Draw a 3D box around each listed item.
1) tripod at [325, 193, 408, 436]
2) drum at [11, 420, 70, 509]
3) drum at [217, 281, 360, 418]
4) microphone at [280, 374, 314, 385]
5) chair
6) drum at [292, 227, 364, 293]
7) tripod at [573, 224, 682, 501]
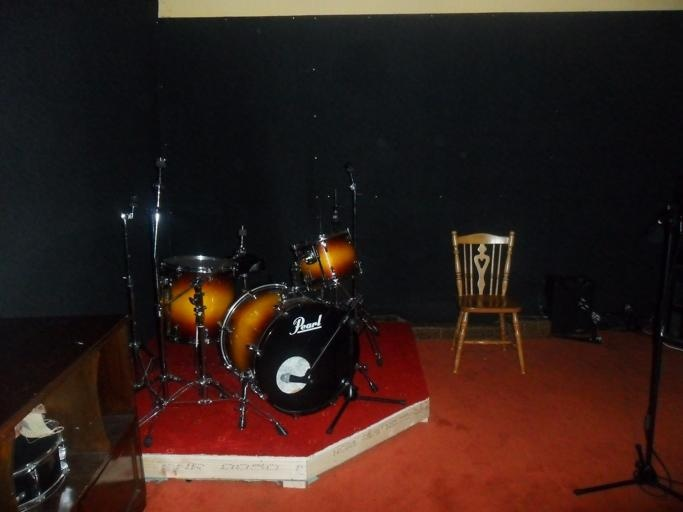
[{"bbox_3d":[0.082,0.228,3.691,0.568,1.603,0.555,-1,-1,9],"label":"tripod"},{"bbox_3d":[-1.347,0.941,2.361,0.207,0.308,0.206,-2,4,0],"label":"drum"},{"bbox_3d":[-0.362,0.463,3.403,0.687,0.814,0.801,-21,33,-32],"label":"drum"},{"bbox_3d":[-0.266,0.729,3.114,0.196,0.076,0.067,2,-6,1],"label":"microphone"},{"bbox_3d":[1.199,0.323,4.337,0.583,1.070,1.065,-1,4,16],"label":"chair"},{"bbox_3d":[-0.102,0.013,3.546,0.398,0.323,0.401,-21,5,-11],"label":"drum"},{"bbox_3d":[1.768,0.575,3.065,0.447,1.488,1.010,2,6,40],"label":"tripod"}]
